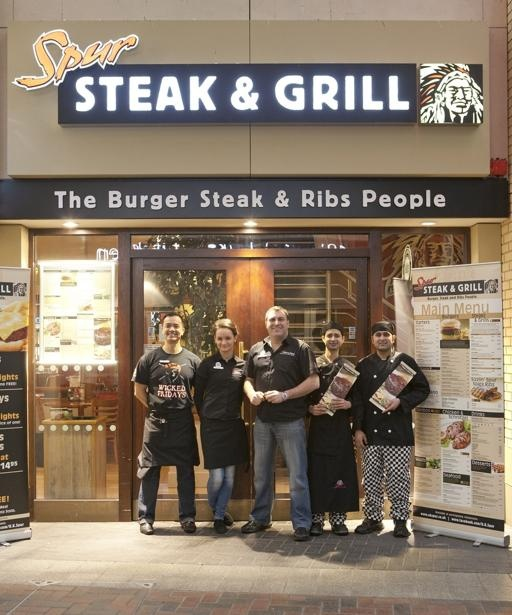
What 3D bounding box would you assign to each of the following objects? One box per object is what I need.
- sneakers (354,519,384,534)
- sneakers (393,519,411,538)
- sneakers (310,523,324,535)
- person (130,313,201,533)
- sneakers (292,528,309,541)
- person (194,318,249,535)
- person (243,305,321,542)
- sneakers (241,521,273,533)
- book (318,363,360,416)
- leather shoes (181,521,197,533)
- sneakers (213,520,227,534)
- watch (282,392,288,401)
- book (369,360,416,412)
[{"bbox_3d":[0.986,1.883,5.656,0.274,0.119,0.093,8,-12,-31],"label":"sneakers"},{"bbox_3d":[1.234,1.859,5.555,0.139,0.129,0.168,-2,-2,21],"label":"sneakers"},{"bbox_3d":[0.518,1.879,5.587,0.079,0.086,0.216,0,-14,3],"label":"sneakers"},{"bbox_3d":[-0.789,1.014,5.820,0.606,1.897,0.284,-1,-3,-9],"label":"person"},{"bbox_3d":[0.384,1.875,5.436,0.131,0.100,0.102,-1,-2,-8],"label":"sneakers"},{"bbox_3d":[-0.312,1.029,5.791,0.465,1.831,0.246,-1,-3,-1],"label":"person"},{"bbox_3d":[0.195,0.973,5.625,0.717,1.947,0.431,-2,-3,17],"label":"person"},{"bbox_3d":[0.016,1.901,5.743,0.266,0.110,0.096,9,-11,-29],"label":"sneakers"},{"bbox_3d":[0.722,0.697,5.644,0.353,0.448,0.145,-1,-3,-14],"label":"book"},{"bbox_3d":[-0.603,1.908,5.745,0.148,0.097,0.115,-2,-2,12],"label":"leather shoes"},{"bbox_3d":[-0.305,1.904,5.734,0.117,0.110,0.144,-1,-2,-4],"label":"sneakers"},{"bbox_3d":[0.237,0.727,5.442,0.046,0.069,0.065,0,-9,-2],"label":"watch"},{"bbox_3d":[1.181,0.679,5.582,0.218,0.470,0.053,36,6,14],"label":"book"}]
